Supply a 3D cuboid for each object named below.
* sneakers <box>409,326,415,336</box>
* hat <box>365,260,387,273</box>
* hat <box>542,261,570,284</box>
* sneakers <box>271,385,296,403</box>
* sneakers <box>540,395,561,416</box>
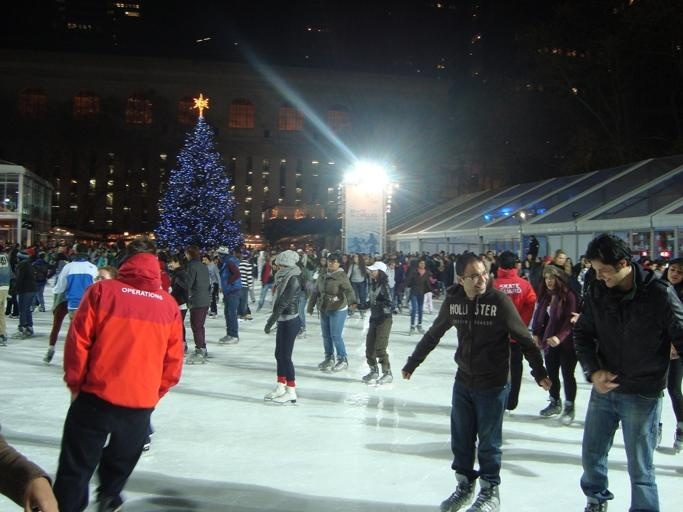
[{"bbox_3d":[1.671,1.756,15.828,0.173,0.239,0.165,0,0,2],"label":"sneakers"},{"bbox_3d":[0.615,0.184,11.318,0.297,0.117,0.208,2,-2,-5],"label":"hat"},{"bbox_3d":[2.749,0.236,8.484,0.319,0.186,0.250,26,-9,-32],"label":"hat"},{"bbox_3d":[-0.739,1.872,9.047,0.421,0.294,0.147,3,-3,-5],"label":"sneakers"},{"bbox_3d":[2.609,1.930,8.542,0.391,0.286,0.135,1,-1,-12],"label":"sneakers"}]
